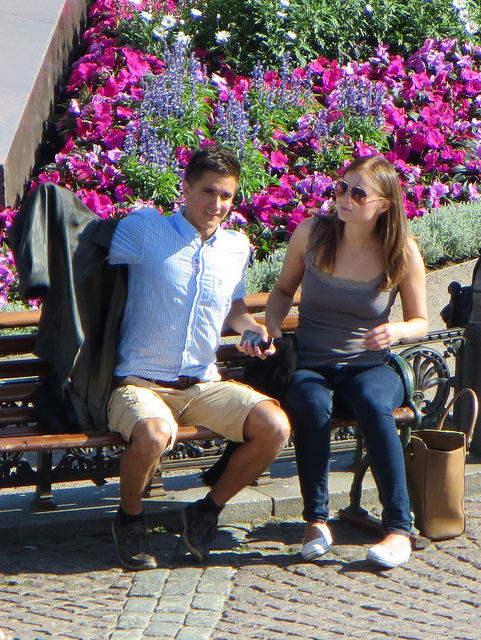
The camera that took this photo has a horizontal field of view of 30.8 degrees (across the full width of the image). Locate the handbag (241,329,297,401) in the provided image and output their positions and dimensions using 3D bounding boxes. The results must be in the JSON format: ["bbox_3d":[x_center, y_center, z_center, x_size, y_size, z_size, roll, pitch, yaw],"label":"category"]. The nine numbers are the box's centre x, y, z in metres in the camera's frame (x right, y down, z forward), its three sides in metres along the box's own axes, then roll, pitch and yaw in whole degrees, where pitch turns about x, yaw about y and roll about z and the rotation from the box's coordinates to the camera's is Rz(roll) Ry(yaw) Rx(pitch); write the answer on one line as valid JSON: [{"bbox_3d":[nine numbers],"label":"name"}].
[{"bbox_3d":[0.144,0.207,3.899,0.303,0.272,0.134,29,7,40],"label":"handbag"}]

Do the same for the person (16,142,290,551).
[{"bbox_3d":[-0.340,0.100,3.645,1.099,1.644,0.713,-2,14,-12],"label":"person"}]

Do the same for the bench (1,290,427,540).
[{"bbox_3d":[-0.165,0.444,4.075,1.820,1.022,1.065,-1,12,-11],"label":"bench"}]

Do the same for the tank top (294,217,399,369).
[{"bbox_3d":[0.548,-0.126,4.054,0.541,0.614,0.403,17,25,35],"label":"tank top"}]

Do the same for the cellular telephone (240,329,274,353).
[{"bbox_3d":[0.065,0.086,3.772,0.140,0.065,0.034,22,12,41],"label":"cellular telephone"}]
